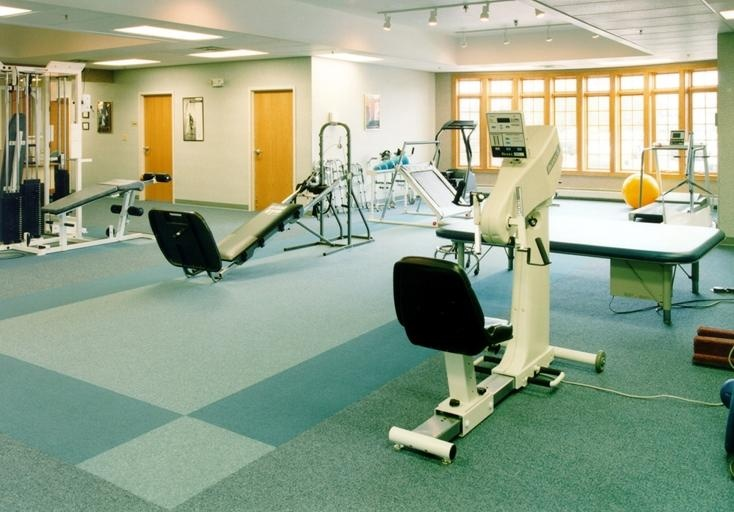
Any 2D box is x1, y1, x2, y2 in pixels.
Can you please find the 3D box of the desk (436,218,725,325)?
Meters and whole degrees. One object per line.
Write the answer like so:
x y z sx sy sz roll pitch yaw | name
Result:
2.534 0.194 6.020 1.645 0.606 2.783 2 5 -38 | desk
